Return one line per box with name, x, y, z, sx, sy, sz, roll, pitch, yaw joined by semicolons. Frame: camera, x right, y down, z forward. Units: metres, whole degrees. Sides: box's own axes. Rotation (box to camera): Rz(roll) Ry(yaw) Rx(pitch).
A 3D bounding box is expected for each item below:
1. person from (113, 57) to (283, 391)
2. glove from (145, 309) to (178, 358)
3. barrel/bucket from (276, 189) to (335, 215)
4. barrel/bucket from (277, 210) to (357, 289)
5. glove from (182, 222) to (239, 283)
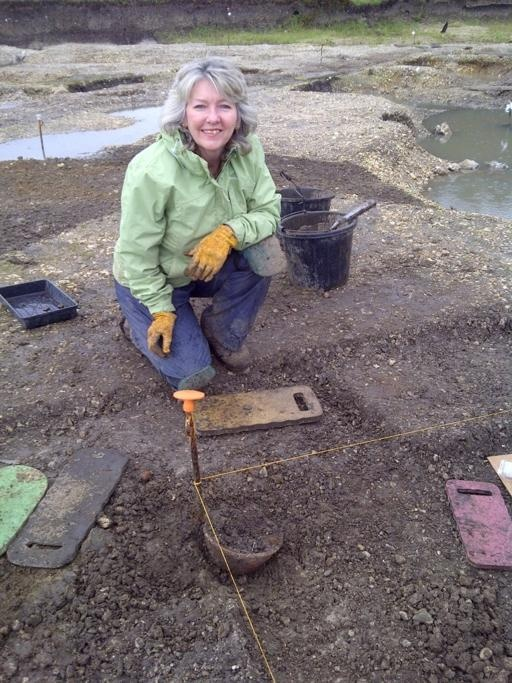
person;-0.273;-0.495;2.908;0.442;1.504;0.784;14;33;34
glove;-0.437;-0.036;2.833;0.134;0.197;0.068;3;-9;-3
barrel/bucket;0.381;-1.081;4.765;0.374;0.243;0.349;-1;25;1
barrel/bucket;0.401;-0.603;4.219;0.548;0.423;0.547;-4;24;2
glove;-0.203;-0.398;2.845;0.180;0.270;0.082;29;6;8
